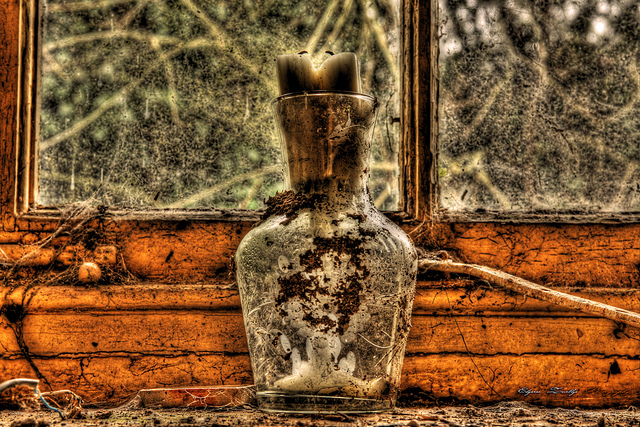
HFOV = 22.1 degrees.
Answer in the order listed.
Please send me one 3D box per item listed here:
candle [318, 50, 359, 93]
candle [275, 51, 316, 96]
[{"bbox_3d":[0.044,-0.307,3.671,0.101,0.060,0.109,-3,-87,6],"label":"candle"},{"bbox_3d":[-0.056,-0.308,3.722,0.084,0.100,0.087,-18,-6,3],"label":"candle"}]
